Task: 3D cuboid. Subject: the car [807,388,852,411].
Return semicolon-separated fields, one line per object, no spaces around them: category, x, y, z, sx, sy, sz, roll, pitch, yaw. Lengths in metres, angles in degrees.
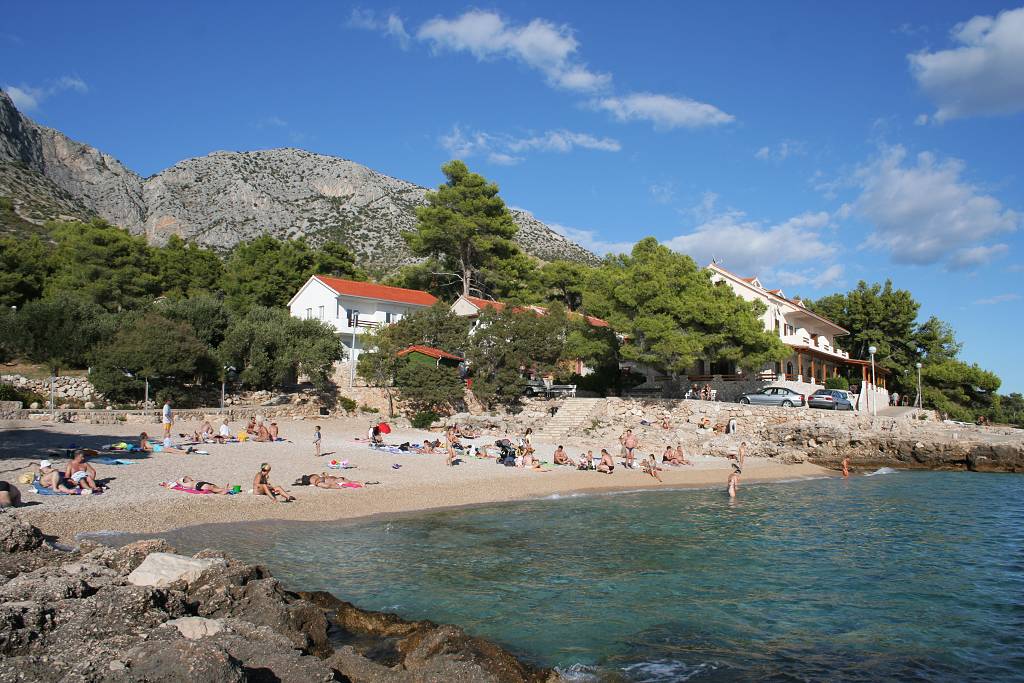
car;25.058;4.765;54.666;4.019;1.278;2.208;0;7;-43

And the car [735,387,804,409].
car;20.874;4.631;55.658;4.201;1.240;1.893;3;-1;27

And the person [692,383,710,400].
person;16.786;4.622;61.107;1.228;1.426;0.712;1;-39;-1
